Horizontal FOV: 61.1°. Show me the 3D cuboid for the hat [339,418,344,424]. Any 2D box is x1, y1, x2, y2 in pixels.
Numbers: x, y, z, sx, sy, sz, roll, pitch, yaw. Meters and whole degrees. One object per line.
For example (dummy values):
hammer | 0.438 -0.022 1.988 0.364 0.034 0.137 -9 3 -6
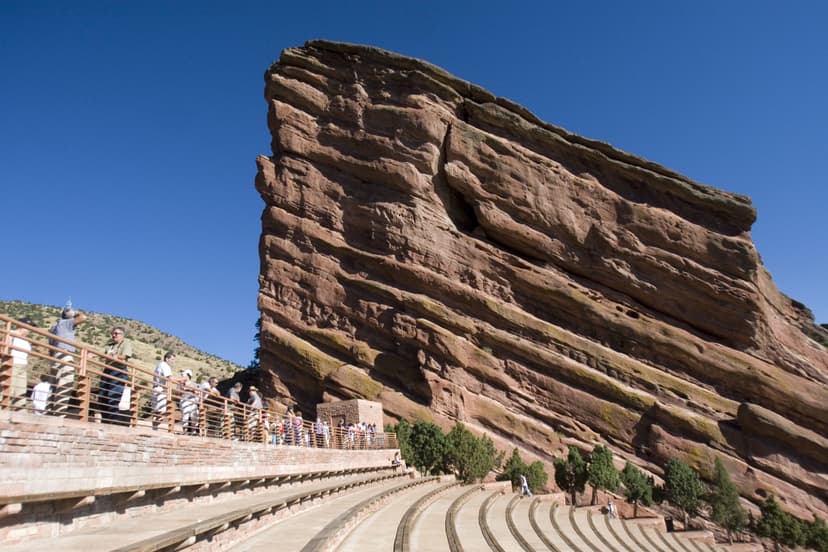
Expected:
hat | -5.018 10.148 48.400 0.311 0.262 0.505 15 -4 9
